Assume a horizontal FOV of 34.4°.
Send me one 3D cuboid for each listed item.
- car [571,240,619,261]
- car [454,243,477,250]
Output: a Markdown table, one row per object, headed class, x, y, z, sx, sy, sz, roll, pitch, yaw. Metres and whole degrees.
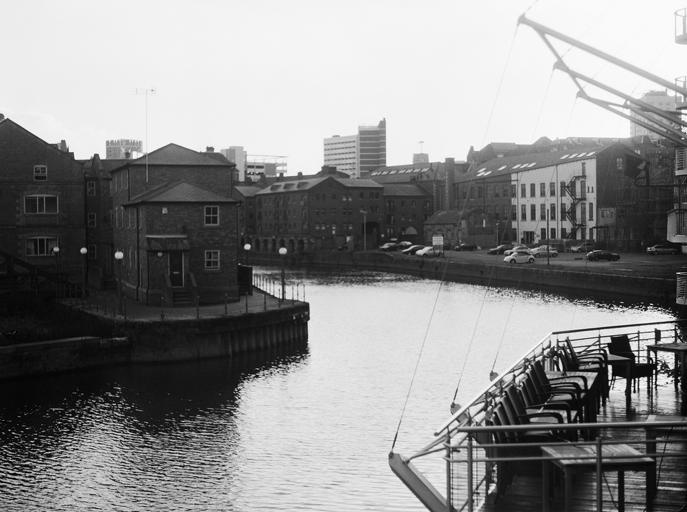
| class | x | y | z | sx | sy | sz | roll | pitch | yaw |
| --- | --- | --- | --- | --- | --- | --- | --- | --- | --- |
| car | 20.043 | -0.540 | 88.207 | 2.985 | 1.201 | 1.501 | -2 | 6 | -12 |
| car | 12.247 | -1.220 | 110.625 | 1.806 | 0.670 | 0.864 | 4 | -3 | -24 |
